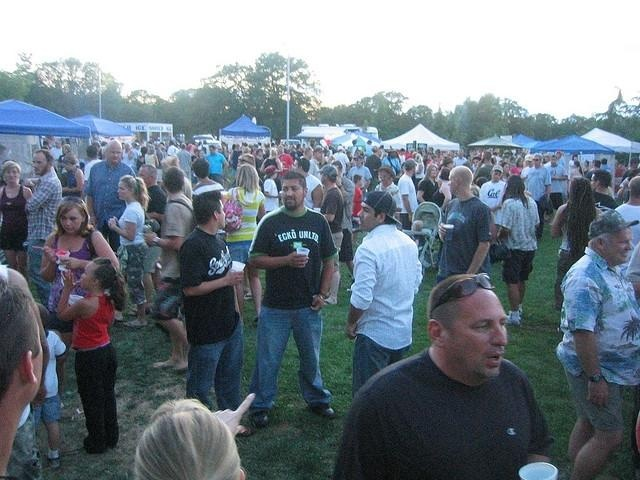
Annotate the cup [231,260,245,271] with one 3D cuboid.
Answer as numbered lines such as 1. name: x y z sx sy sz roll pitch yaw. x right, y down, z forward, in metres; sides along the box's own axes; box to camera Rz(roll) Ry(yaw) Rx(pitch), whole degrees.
1. cup: -0.772 0.255 5.746 0.120 0.079 0.212 1 7 -10

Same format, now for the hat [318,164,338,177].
1. hat: 0.111 -1.007 9.027 0.250 0.154 0.167 9 13 34

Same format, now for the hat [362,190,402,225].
1. hat: 0.550 -0.287 5.515 0.333 0.286 0.189 2 6 -5

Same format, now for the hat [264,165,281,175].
1. hat: -0.910 -1.280 11.605 0.258 0.093 0.191 -10 19 0

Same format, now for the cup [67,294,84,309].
1. cup: -2.290 0.567 5.725 0.120 0.066 0.158 -2 -10 -27

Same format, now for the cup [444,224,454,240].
1. cup: 1.513 -0.091 7.208 0.137 0.160 0.139 -3 8 0

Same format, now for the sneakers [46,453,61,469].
1. sneakers: -2.374 1.942 5.479 0.108 0.135 0.114 -1 7 -26

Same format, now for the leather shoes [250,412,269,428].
1. leather shoes: -0.589 1.735 6.029 0.195 0.153 0.164 1 7 -11

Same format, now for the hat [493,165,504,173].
1. hat: 3.310 -1.311 11.445 0.197 0.123 0.292 10 6 -3

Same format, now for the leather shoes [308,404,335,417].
1. leather shoes: 0.007 1.697 6.200 0.267 0.126 0.104 1 4 34
